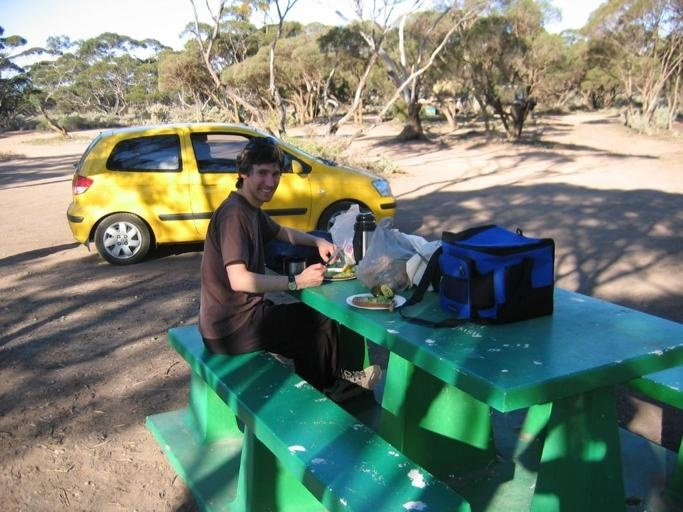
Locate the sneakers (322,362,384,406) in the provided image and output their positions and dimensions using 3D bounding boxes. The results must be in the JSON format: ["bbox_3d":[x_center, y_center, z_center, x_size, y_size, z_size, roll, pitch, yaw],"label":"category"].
[{"bbox_3d":[0.084,1.008,3.793,0.385,0.277,0.128,-31,47,-5],"label":"sneakers"}]

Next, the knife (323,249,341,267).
[{"bbox_3d":[-0.063,0.026,3.793,0.077,0.146,0.088,32,0,-42],"label":"knife"}]

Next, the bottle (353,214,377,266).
[{"bbox_3d":[0.167,-0.110,3.332,0.148,0.507,0.150,0,28,0],"label":"bottle"}]

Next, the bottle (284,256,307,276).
[{"bbox_3d":[-0.330,0.072,3.485,0.119,0.126,0.127,0,2,1],"label":"bottle"}]

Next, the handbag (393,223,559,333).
[{"bbox_3d":[0.770,0.040,2.672,0.731,0.431,0.555,-9,12,-25],"label":"handbag"}]

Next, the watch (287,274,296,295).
[{"bbox_3d":[-0.325,0.179,3.248,0.060,0.098,0.095,-2,14,-8],"label":"watch"}]
